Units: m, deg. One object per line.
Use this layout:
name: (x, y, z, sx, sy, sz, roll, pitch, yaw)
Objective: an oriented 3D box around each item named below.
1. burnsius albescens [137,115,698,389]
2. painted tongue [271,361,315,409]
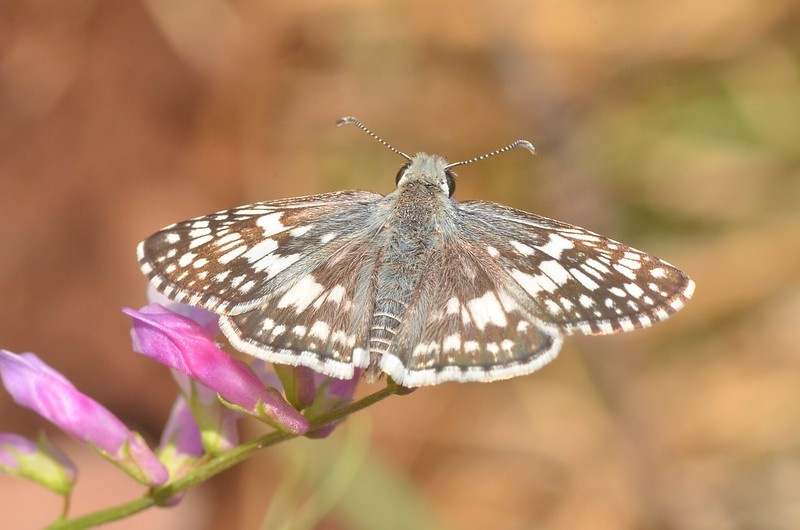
burnsius albescens: (0.049, -0.038, 3.822, 2.645, 0.339, 1.462, 4, 50, 6)
painted tongue: (-0.456, 0.549, 3.560, 0.164, 0.222, 0.208, 2, 11, 6)
